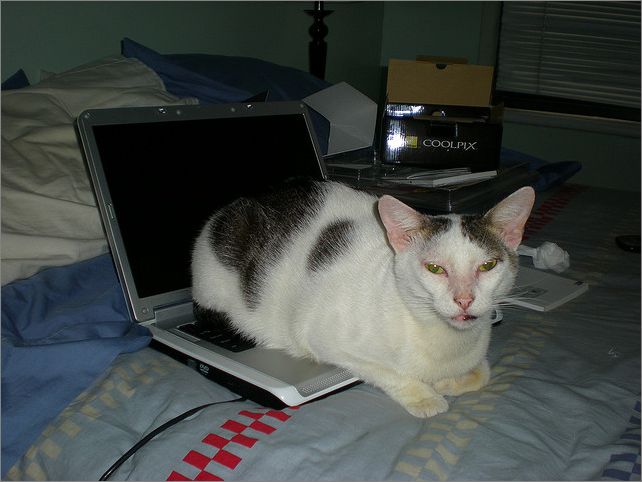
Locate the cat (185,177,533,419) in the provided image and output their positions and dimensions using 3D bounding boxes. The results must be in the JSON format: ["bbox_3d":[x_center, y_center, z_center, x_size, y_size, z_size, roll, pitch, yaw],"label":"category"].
[{"bbox_3d":[0.024,0.087,1.465,0.882,0.397,0.559,21,29,32],"label":"cat"}]

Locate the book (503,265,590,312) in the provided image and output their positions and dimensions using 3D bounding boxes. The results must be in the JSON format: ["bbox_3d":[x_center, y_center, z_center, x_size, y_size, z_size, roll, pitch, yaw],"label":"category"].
[{"bbox_3d":[0.705,0.151,1.606,0.187,0.023,0.199,16,32,39],"label":"book"}]
